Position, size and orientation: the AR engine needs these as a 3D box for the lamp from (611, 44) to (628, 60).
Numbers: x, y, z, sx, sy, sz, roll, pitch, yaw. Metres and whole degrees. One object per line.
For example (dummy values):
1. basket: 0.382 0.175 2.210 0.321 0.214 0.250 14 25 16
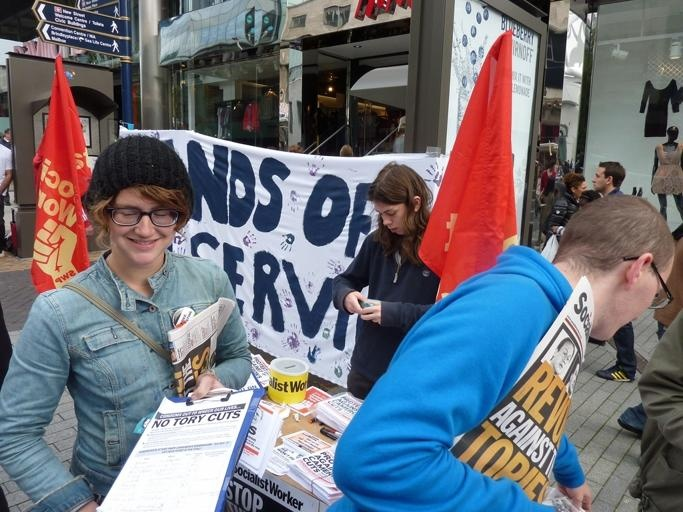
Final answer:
1. lamp: 4.918 -3.671 8.631 0.172 0.291 0.068 -1 6 20

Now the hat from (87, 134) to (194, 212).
1. hat: -0.838 -0.375 2.142 0.289 0.278 0.319 -2 7 4

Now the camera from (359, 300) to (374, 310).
1. camera: 0.155 0.300 3.121 0.055 0.058 0.045 -14 13 -7
